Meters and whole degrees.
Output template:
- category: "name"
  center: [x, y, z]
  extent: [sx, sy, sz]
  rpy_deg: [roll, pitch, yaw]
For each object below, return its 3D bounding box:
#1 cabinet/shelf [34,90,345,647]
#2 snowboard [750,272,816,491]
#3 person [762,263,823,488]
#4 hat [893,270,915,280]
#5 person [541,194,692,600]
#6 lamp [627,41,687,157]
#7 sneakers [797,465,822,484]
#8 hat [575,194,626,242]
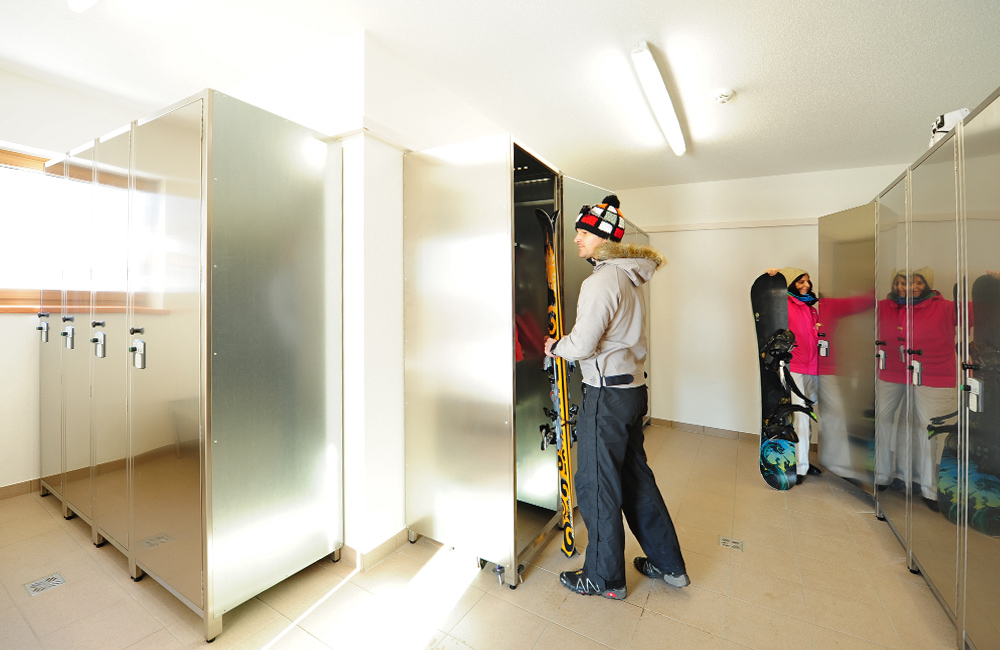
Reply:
- category: "cabinet/shelf"
  center: [-2.087, 0.243, 4.452]
  extent: [2.007, 2.214, 0.896]
  rpy_deg: [-3, 5, 20]
- category: "snowboard"
  center: [2.393, 0.488, 5.675]
  extent: [0.415, 1.972, 0.332]
  rpy_deg: [-7, -5, 40]
- category: "person"
  center: [2.469, 0.423, 5.635]
  extent: [0.416, 1.768, 0.480]
  rpy_deg: [-2, 5, 27]
- category: "hat"
  center: [2.769, -0.349, 4.537]
  extent: [0.069, 0.038, 0.061]
  rpy_deg: [-6, -25, 43]
- category: "person"
  center: [0.726, 0.454, 4.386]
  extent: [0.840, 2.610, 0.500]
  rpy_deg: [-5, 5, 2]
- category: "lamp"
  center: [1.077, -1.694, 4.762]
  extent: [0.120, 0.623, 0.031]
  rpy_deg: [-28, 15, -8]
- category: "sneakers"
  center: [2.658, 1.260, 5.620]
  extent: [0.115, 0.167, 0.371]
  rpy_deg: [-7, -9, 41]
- category: "hat"
  center: [0.706, -0.735, 4.461]
  extent: [0.330, 0.334, 0.285]
  rpy_deg: [14, 4, -3]
